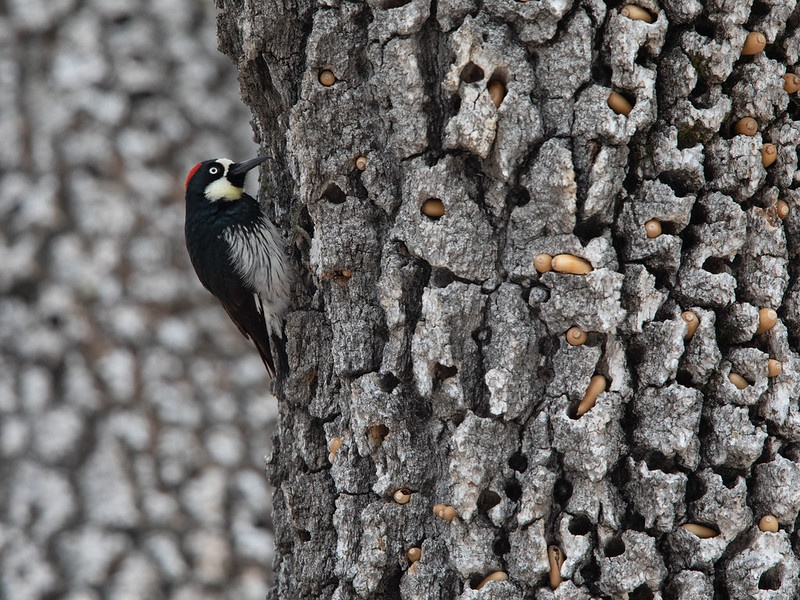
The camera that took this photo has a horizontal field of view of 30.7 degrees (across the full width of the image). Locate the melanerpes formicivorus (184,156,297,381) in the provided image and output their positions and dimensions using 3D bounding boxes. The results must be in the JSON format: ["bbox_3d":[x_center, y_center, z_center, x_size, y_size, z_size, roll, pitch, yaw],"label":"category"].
[{"bbox_3d":[-0.663,-0.094,6.083,0.339,1.164,0.807,6,-25,-22],"label":"melanerpes formicivorus"}]
